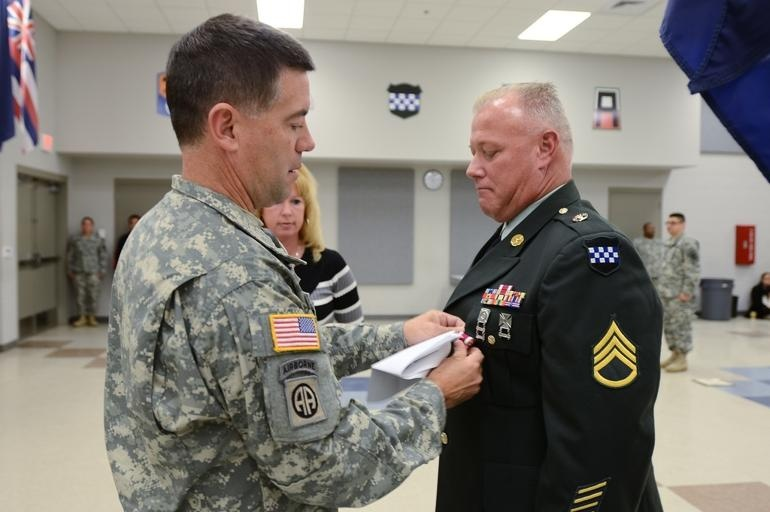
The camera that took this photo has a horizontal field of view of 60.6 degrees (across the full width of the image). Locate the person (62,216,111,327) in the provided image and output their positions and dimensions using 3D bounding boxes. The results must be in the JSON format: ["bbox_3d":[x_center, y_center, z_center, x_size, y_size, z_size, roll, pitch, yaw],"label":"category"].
[{"bbox_3d":[-4.709,0.242,10.449,0.603,1.681,0.266,0,2,-22],"label":"person"}]

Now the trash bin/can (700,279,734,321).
[{"bbox_3d":[5.816,0.762,11.740,0.659,0.837,0.636,2,-3,-32],"label":"trash bin/can"}]

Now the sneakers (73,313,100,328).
[{"bbox_3d":[-4.750,1.013,10.498,0.156,0.236,0.494,-3,-10,43],"label":"sneakers"}]

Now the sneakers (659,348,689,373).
[{"bbox_3d":[3.341,1.202,7.694,0.262,0.349,0.271,1,1,-12],"label":"sneakers"}]

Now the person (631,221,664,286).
[{"bbox_3d":[4.451,0.095,10.999,0.614,1.370,0.269,-3,24,23],"label":"person"}]
